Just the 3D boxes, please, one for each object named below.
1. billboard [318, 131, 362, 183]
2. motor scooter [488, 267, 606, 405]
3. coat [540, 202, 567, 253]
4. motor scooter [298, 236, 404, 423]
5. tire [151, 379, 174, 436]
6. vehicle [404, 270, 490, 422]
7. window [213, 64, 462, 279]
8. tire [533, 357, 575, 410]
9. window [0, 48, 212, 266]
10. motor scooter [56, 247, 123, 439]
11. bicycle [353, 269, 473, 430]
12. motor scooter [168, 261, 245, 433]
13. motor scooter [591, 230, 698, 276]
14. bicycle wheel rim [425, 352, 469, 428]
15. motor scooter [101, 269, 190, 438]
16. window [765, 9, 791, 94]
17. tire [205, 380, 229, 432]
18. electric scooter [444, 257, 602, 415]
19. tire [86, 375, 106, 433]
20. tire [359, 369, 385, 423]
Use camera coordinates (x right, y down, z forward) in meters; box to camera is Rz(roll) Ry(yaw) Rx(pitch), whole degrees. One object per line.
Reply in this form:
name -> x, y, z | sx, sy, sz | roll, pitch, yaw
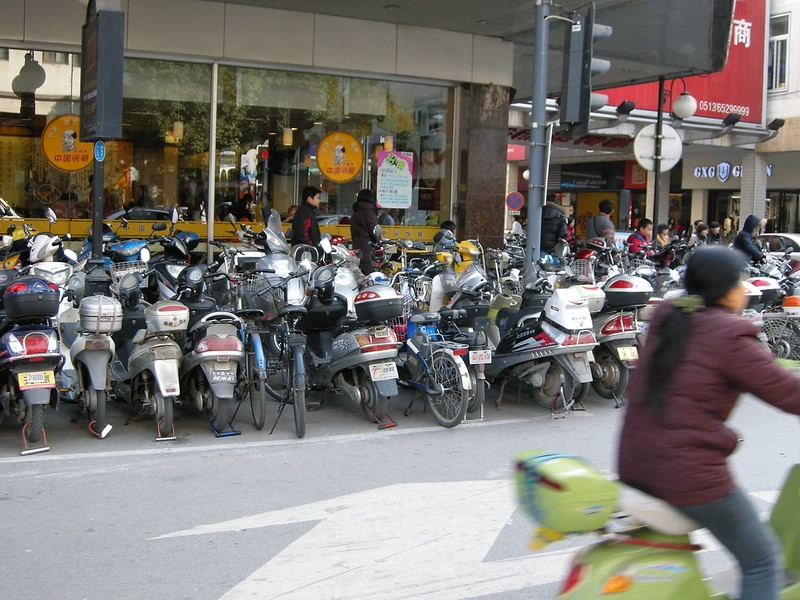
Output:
billboard -> -1.189, -2.716, 14.709 | 0.716, 0.669, 0.095 | 43, 3, -13
motor scooter -> 1.400, 0.398, 8.844 | 0.766, 1.545, 2.319 | 5, -1, -20
coat -> 2.565, -1.204, 12.994 | 0.427, 0.846, 0.816 | 3, 8, 11
motor scooter -> -0.582, 0.334, 8.149 | 0.793, 1.506, 2.069 | -4, 7, -29
tire -> -2.106, 0.926, 6.867 | 0.146, 0.413, 0.408 | 2, -25, -19
vehicle -> 0.648, 0.552, 7.967 | 0.775, 1.004, 1.609 | -1, 7, -19
window -> -1.203, -2.328, 13.124 | 4.141, 2.973, 0.108 | 0, 2, -17
tire -> 1.613, 0.841, 8.160 | 0.171, 0.533, 0.457 | -14, 24, -40
window -> -4.535, -2.256, 11.736 | 3.770, 2.719, 0.060 | 0, 5, -15
motor scooter -> -2.995, 0.432, 7.652 | 0.854, 1.506, 2.191 | 1, 3, -26
bicycle -> -0.004, 0.588, 8.013 | 0.867, 1.069, 1.715 | -4, 14, -27
motor scooter -> -1.967, 0.354, 7.743 | 0.660, 1.462, 2.079 | -1, 8, -24
motor scooter -> 3.611, -0.649, 11.672 | 1.536, 0.964, 1.028 | -2, 11, -2
bicycle wheel rim -> 0.447, 0.874, 7.654 | 0.197, 0.774, 0.653 | -3, 9, -33
motor scooter -> -2.428, 0.455, 7.552 | 0.793, 1.444, 2.002 | -1, 4, -32
window -> 13.840, -8.996, 28.408 | 0.416, 2.760, 1.015 | -2, 8, -23
tire -> -1.674, 0.993, 7.222 | 0.179, 0.284, 0.631 | 1, 8, -17
electric scooter -> 1.589, 0.427, 8.780 | 0.945, 1.348, 1.971 | 2, 4, -27
tire -> -2.711, 0.901, 6.917 | 0.138, 0.550, 0.518 | 0, 3, -19
tire -> -0.277, 0.908, 7.607 | 0.190, 0.462, 0.480 | -7, 12, -20
